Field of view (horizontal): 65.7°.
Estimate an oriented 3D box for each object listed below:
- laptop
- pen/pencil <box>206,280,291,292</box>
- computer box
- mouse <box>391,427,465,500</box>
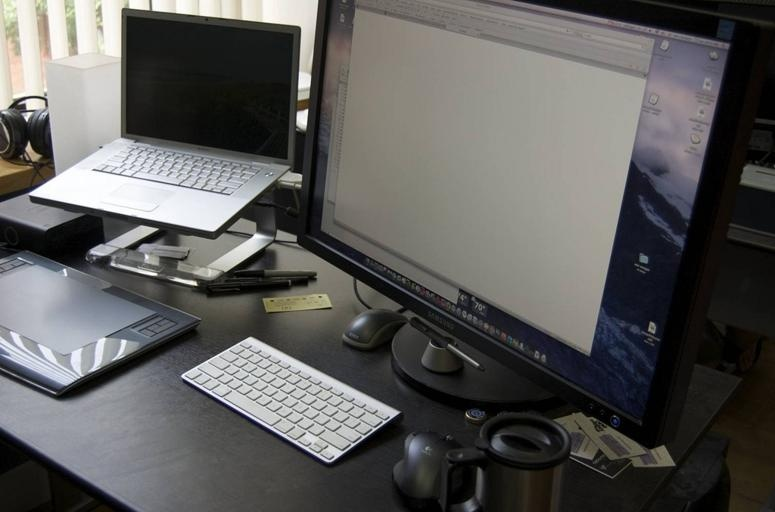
[{"bbox_3d":[-0.498,-0.317,1.368,0.547,0.415,0.318,12,28,12],"label":"laptop"},{"bbox_3d":[-0.316,0.066,1.334,0.103,0.024,0.011,-1,43,-9],"label":"pen/pencil"},{"bbox_3d":[-0.799,-0.372,1.588,0.186,0.370,0.187,34,34,32],"label":"computer box"},{"bbox_3d":[0.060,0.320,0.950,0.118,0.086,0.121,-6,24,-18],"label":"mouse"}]
